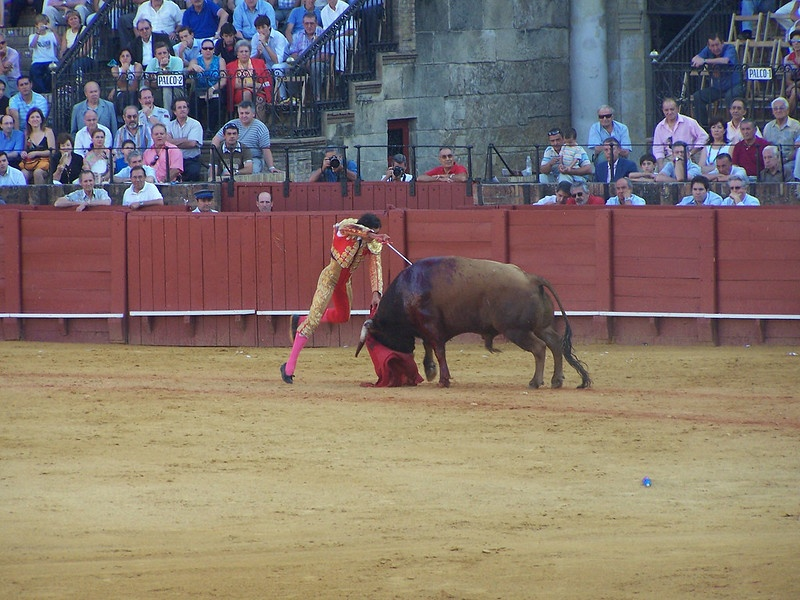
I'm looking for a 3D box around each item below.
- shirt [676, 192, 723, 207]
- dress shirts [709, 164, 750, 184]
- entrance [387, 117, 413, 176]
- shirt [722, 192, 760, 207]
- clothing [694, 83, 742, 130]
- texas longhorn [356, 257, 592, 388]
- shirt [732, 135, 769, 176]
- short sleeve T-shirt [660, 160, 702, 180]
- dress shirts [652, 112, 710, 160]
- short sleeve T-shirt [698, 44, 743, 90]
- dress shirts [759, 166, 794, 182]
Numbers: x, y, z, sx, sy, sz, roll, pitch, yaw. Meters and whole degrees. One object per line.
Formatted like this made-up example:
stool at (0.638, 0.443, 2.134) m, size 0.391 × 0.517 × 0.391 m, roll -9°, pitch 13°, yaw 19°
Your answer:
shirt at (3.921, -1.285, 24.473) m, size 0.315 × 0.127 × 0.323 m, roll -2°, pitch 16°, yaw 7°
dress shirts at (4.258, -1.655, 24.960) m, size 0.280 × 0.184 × 0.375 m, roll 0°, pitch 1°, yaw 21°
entrance at (-0.041, -2.401, 28.814) m, size 0.415 × 0.774 × 0.063 m, roll -10°, pitch 41°, yaw -8°
shirt at (4.357, -1.244, 24.278) m, size 0.326 × 0.117 × 0.252 m, roll 1°, pitch 0°, yaw -33°
clothing at (4.559, -2.783, 27.395) m, size 0.662 × 0.597 × 0.417 m, roll -1°, pitch 1°, yaw 7°
texas longhorn at (0.777, 0.256, 21.434) m, size 2.608 × 1.512 × 0.862 m, roll -1°, pitch 5°, yaw 18°
shirt at (4.567, -1.867, 25.226) m, size 0.543 × 0.507 × 0.279 m, roll 9°, pitch -11°, yaw -23°
short sleeve T-shirt at (3.711, -1.717, 25.327) m, size 0.547 × 0.294 × 0.427 m, roll -1°, pitch 1°, yaw 7°
dress shirts at (3.788, -2.157, 25.910) m, size 0.810 × 0.685 × 0.408 m, roll -9°, pitch -14°, yaw 25°
short sleeve T-shirt at (4.632, -3.306, 27.524) m, size 0.699 × 0.682 × 0.480 m, roll 5°, pitch -3°, yaw -28°
dress shirts at (4.921, -1.614, 24.931) m, size 0.327 × 0.257 × 0.182 m, roll 0°, pitch -4°, yaw 10°
